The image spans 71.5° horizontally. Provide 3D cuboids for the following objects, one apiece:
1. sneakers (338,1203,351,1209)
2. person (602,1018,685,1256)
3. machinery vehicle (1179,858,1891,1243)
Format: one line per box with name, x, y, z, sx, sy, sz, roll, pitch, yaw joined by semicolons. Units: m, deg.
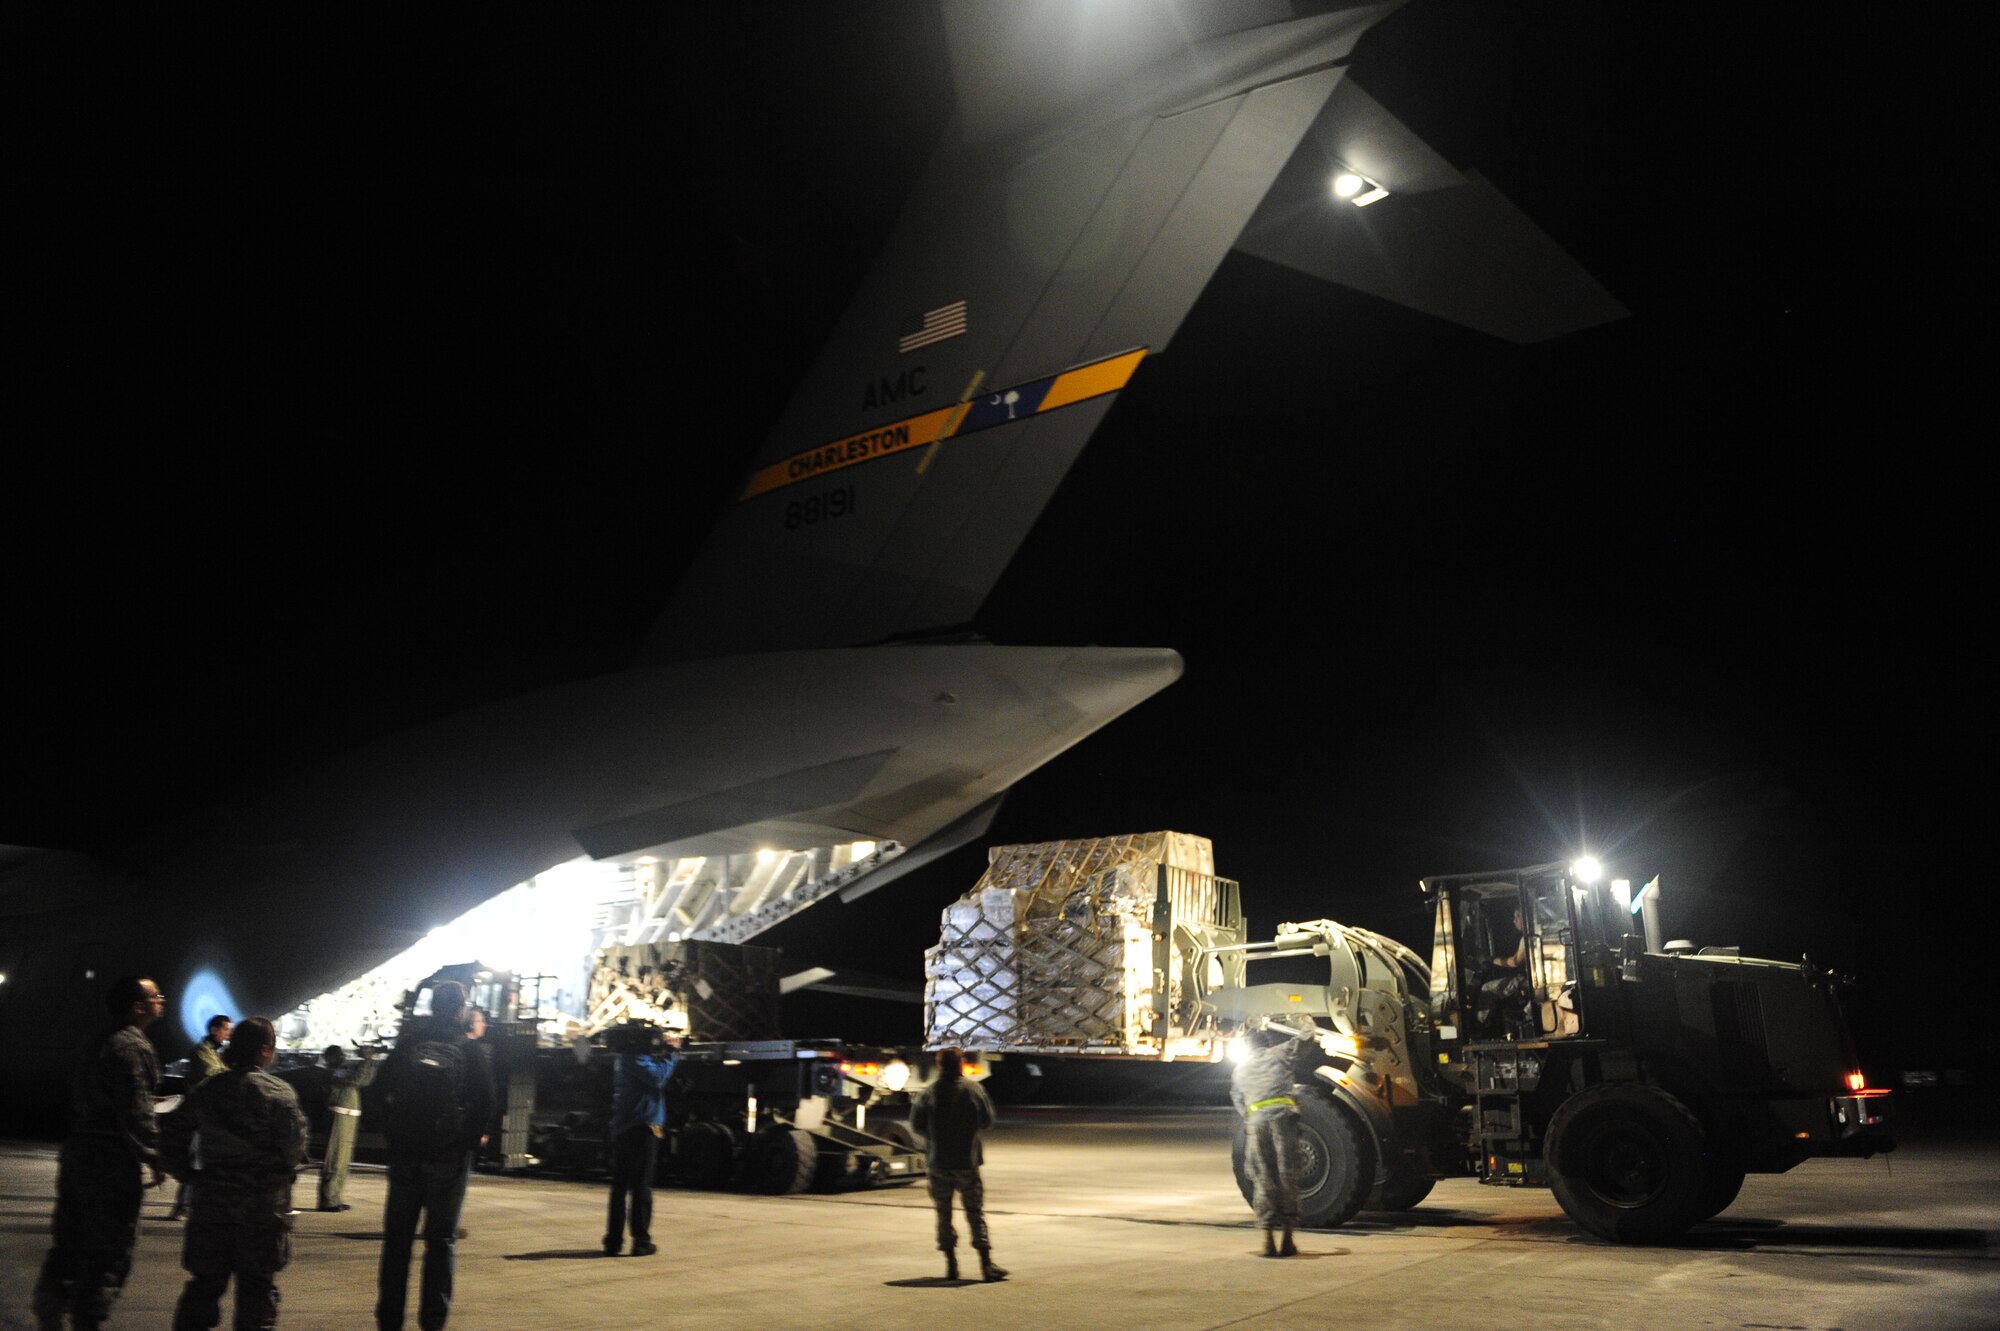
sneakers;-7.614;6.268;16.128;0.120;0.055;0.460;7;-20;-20
person;-3.615;4.720;13.942;0.543;2.160;1.200;5;-20;-14
machinery vehicle;5.620;4.408;15.966;7.426;3.841;2.415;-7;-20;23
